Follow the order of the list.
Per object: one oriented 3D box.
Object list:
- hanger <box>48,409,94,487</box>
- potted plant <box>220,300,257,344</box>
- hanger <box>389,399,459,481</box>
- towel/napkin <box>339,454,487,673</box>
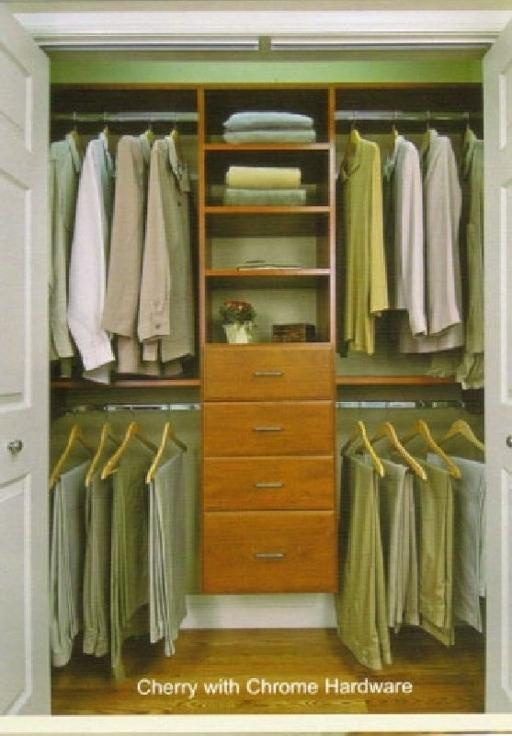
[{"bbox_3d":[-0.433,0.195,1.776,0.007,0.116,0.155,2,2,30],"label":"hanger"},{"bbox_3d":[-0.043,-0.104,1.839,0.088,0.129,0.087,0,0,-10],"label":"potted plant"},{"bbox_3d":[0.393,0.177,1.767,0.010,0.086,0.158,-25,33,-11],"label":"hanger"},{"bbox_3d":[0.363,0.453,1.779,0.341,0.503,0.067,-1,-2,-3],"label":"towel/napkin"}]
